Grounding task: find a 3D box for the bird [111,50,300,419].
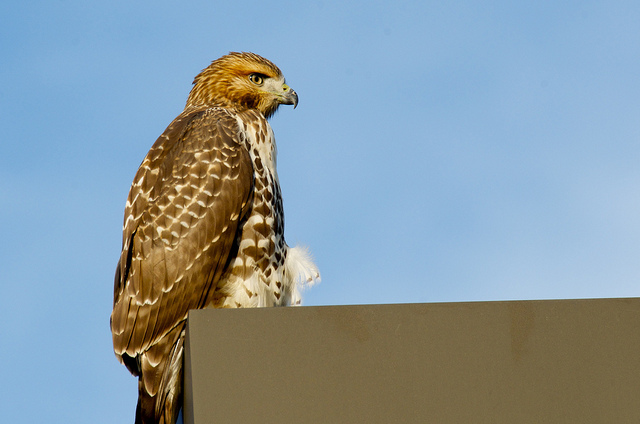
[{"bbox_3d":[-0.295,0.035,3.487,0.524,1.135,0.392,2,-35,-10],"label":"bird"}]
